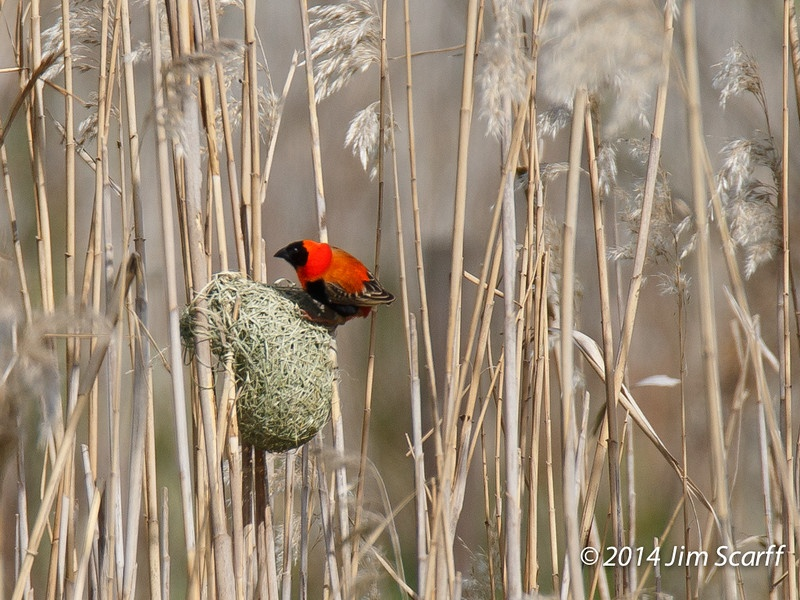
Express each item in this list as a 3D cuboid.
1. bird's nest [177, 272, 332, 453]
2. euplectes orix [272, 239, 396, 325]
[{"bbox_3d":[-0.772,0.360,6.911,0.410,0.711,0.911,-25,92,22],"label":"bird's nest"},{"bbox_3d":[-0.313,-0.111,7.450,0.610,0.502,0.391,-1,19,-13],"label":"euplectes orix"}]
